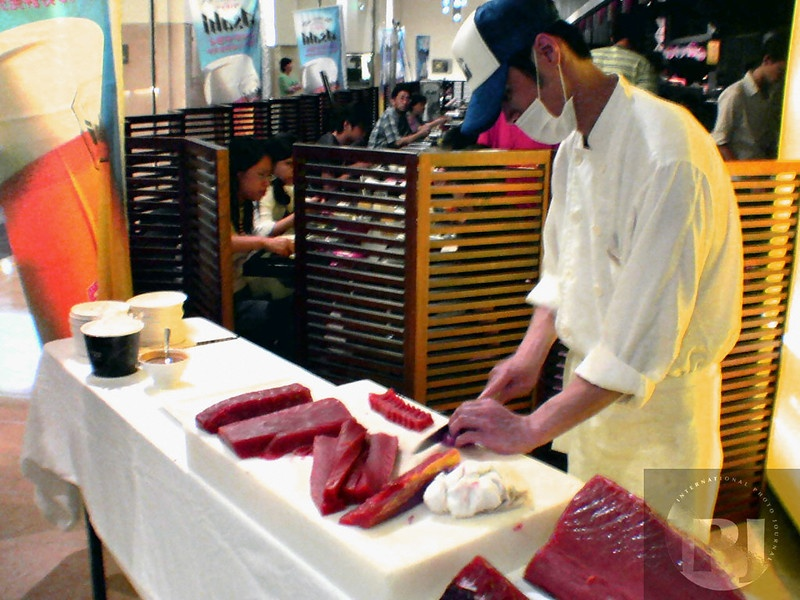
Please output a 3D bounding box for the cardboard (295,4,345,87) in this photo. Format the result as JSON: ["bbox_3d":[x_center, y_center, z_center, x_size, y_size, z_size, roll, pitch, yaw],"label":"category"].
[{"bbox_3d":[-1.400,-4.424,11.519,0.850,1.458,0.519,-9,16,-28],"label":"cardboard"}]

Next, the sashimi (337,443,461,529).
[{"bbox_3d":[0.029,0.407,1.546,0.102,0.091,0.384,-10,9,46],"label":"sashimi"}]

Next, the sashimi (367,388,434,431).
[{"bbox_3d":[0.001,0.306,1.816,0.081,0.027,0.154,-10,27,-40],"label":"sashimi"}]

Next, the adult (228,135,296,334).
[{"bbox_3d":[-1.002,-0.447,4.605,0.427,1.386,0.727,-5,14,-14],"label":"adult"}]

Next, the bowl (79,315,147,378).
[{"bbox_3d":[-0.983,0.166,2.230,0.200,0.167,0.213,4,11,-1],"label":"bowl"}]

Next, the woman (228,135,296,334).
[{"bbox_3d":[-1.002,-0.448,4.607,0.427,1.386,0.731,-5,14,-14],"label":"woman"}]

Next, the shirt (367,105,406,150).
[{"bbox_3d":[-0.188,-2.542,9.506,0.544,0.575,0.818,-2,14,0],"label":"shirt"}]

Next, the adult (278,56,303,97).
[{"bbox_3d":[-2.021,-4.085,12.003,0.436,0.760,0.420,-8,27,-17],"label":"adult"}]

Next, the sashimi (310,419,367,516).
[{"bbox_3d":[-0.150,0.395,1.537,0.101,0.060,0.163,-1,25,-5],"label":"sashimi"}]

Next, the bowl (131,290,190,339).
[{"bbox_3d":[-0.933,0.047,2.520,0.195,0.154,0.209,2,15,-1],"label":"bowl"}]

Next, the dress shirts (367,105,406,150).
[{"bbox_3d":[-0.190,-2.540,9.499,0.543,0.575,0.758,-2,14,0],"label":"dress shirts"}]

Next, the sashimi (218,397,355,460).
[{"bbox_3d":[-0.290,0.330,1.704,0.265,0.063,0.139,-11,15,-37],"label":"sashimi"}]

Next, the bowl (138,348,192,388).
[{"bbox_3d":[-0.808,0.220,2.217,0.134,0.087,0.152,1,9,-4],"label":"bowl"}]

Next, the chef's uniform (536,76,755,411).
[{"bbox_3d":[0.592,-0.123,1.812,0.637,0.963,0.601,7,16,31],"label":"chef's uniform"}]

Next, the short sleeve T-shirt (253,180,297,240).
[{"bbox_3d":[-0.957,-0.684,4.915,0.320,0.513,0.389,9,28,3],"label":"short sleeve T-shirt"}]

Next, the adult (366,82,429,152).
[{"bbox_3d":[0.055,-2.725,9.632,0.695,0.940,0.849,-14,35,-31],"label":"adult"}]

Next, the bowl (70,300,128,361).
[{"bbox_3d":[-1.143,0.121,2.464,0.223,0.166,0.220,1,12,0],"label":"bowl"}]
